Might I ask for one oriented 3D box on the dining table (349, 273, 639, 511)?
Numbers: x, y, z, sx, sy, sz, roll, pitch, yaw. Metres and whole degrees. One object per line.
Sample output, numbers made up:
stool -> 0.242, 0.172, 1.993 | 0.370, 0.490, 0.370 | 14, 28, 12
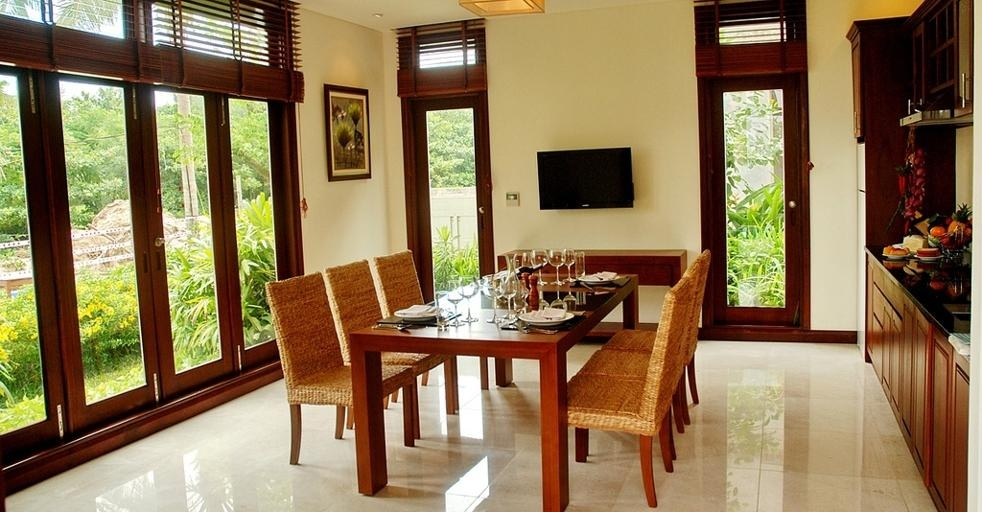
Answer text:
dining table -> -0.106, 0.885, 5.630 | 1.646, 1.133, 2.793 | 1, 8, 17

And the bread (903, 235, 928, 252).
bread -> 4.296, -0.135, 6.490 | 0.187, 0.112, 0.187 | 6, 12, 43

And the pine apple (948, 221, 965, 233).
pine apple -> 4.402, -0.280, 6.055 | 0.110, 0.115, 0.108 | -5, -1, -41

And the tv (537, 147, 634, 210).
tv -> 1.249, -1.005, 8.174 | 0.947, 0.553, 0.125 | 0, 9, 16

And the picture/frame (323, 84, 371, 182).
picture/frame -> -1.861, -1.579, 8.251 | 0.166, 1.194, 0.801 | 3, 10, 26

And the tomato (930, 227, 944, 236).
tomato -> 4.323, -0.246, 6.220 | 0.127, 0.089, 0.136 | -10, 12, -43
